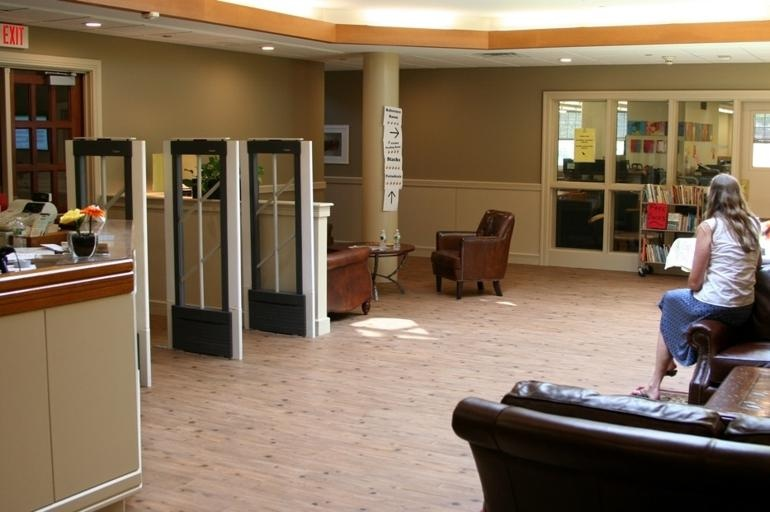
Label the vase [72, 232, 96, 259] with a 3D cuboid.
[{"bbox_3d":[-1.776,-0.051,3.330,0.141,0.114,0.151,-4,5,-42],"label":"vase"}]

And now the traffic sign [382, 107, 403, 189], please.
[{"bbox_3d":[0.115,-1.767,9.186,0.401,1.286,0.130,-10,16,-44],"label":"traffic sign"}]

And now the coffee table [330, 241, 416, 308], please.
[{"bbox_3d":[-0.433,0.284,7.512,1.403,0.499,0.984,5,9,43],"label":"coffee table"}]

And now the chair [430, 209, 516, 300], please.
[{"bbox_3d":[1.372,-0.103,9.189,1.493,1.516,1.293,-2,6,-27],"label":"chair"}]
